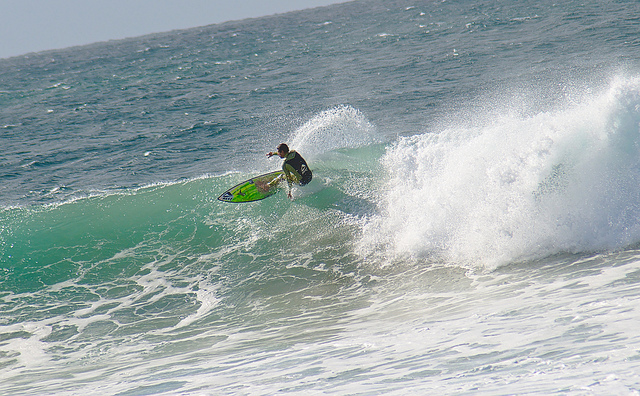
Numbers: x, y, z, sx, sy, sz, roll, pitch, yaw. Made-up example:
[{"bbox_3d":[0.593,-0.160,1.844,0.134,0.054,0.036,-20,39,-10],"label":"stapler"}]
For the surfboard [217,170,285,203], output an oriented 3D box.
[{"bbox_3d":[-3.422,-0.395,46.036,4.714,0.548,1.026,-16,61,-3],"label":"surfboard"}]
